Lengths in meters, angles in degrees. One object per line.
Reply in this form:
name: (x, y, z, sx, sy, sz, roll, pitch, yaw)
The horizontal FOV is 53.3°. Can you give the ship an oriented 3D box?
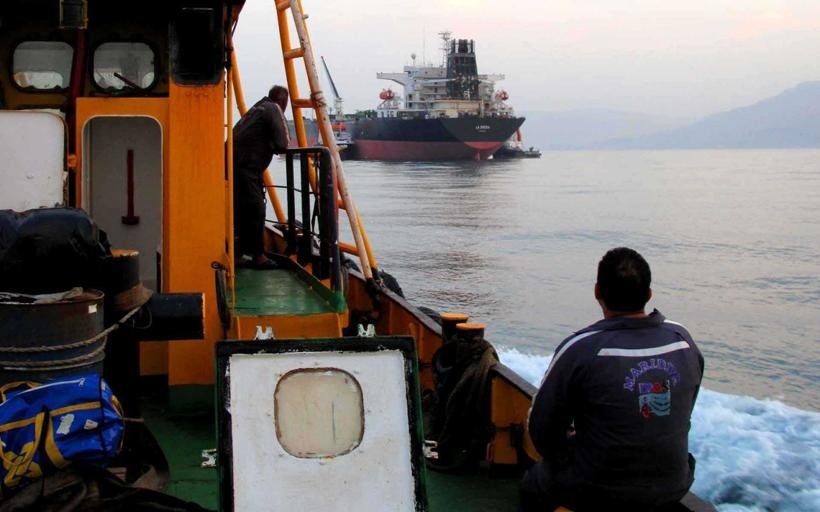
ship: (1.880, -15.860, 81.564, 11.507, 10.443, 25.533, -2, 5, -18)
